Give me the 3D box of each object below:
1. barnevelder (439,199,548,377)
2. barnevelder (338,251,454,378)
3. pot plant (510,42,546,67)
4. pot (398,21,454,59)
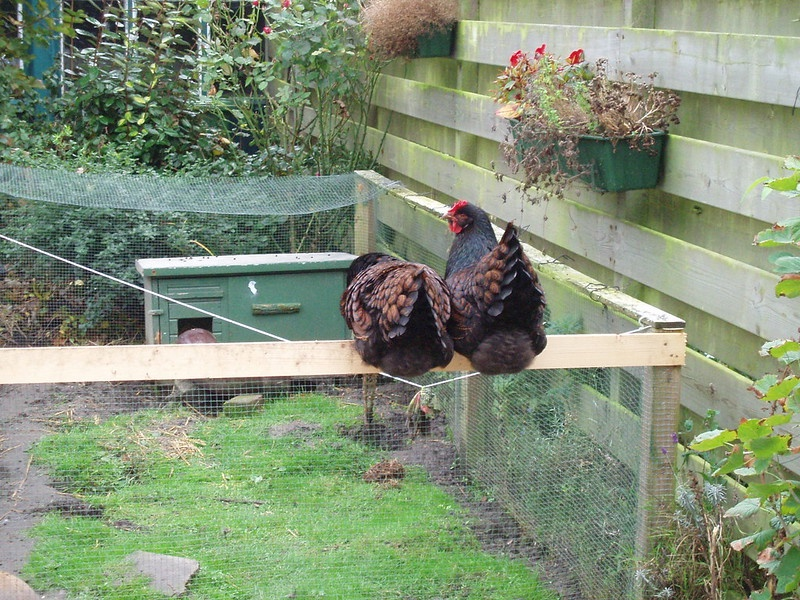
[{"bbox_3d":[0.432,-0.011,4.288,0.503,0.889,0.806,-6,8,-12],"label":"barnevelder"},{"bbox_3d":[-0.042,0.051,4.207,0.449,0.635,0.757,-2,2,-15],"label":"barnevelder"},{"bbox_3d":[0.700,-1.353,5.050,0.203,0.101,0.121,-25,16,-3],"label":"pot plant"},{"bbox_3d":[0.245,-1.811,6.399,0.330,0.252,0.193,-1,28,7],"label":"pot"}]
